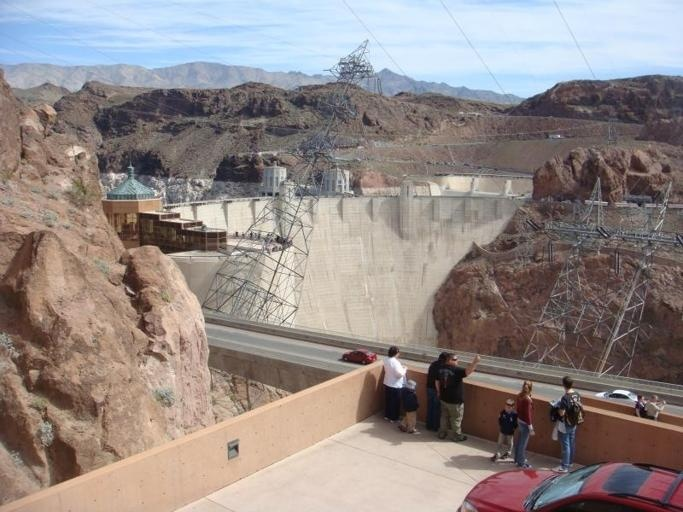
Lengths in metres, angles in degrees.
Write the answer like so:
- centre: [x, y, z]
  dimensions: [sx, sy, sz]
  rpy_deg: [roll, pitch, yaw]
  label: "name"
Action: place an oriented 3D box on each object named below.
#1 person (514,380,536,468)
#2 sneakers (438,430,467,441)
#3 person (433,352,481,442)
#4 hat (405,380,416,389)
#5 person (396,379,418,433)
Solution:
- centre: [4.128, 3.808, 13.382]
  dimensions: [0.435, 1.929, 0.982]
  rpy_deg: [6, 10, 19]
  label: "person"
- centre: [2.681, 4.422, 14.445]
  dimensions: [0.710, 0.280, 0.256]
  rpy_deg: [-2, 8, 2]
  label: "sneakers"
- centre: [2.715, 3.473, 14.335]
  dimensions: [0.819, 2.099, 0.406]
  rpy_deg: [6, 10, 21]
  label: "person"
- centre: [1.753, 3.267, 14.948]
  dimensions: [0.276, 0.174, 0.178]
  rpy_deg: [26, 19, -23]
  label: "hat"
- centre: [1.711, 3.778, 14.933]
  dimensions: [0.456, 1.245, 0.816]
  rpy_deg: [4, 9, 6]
  label: "person"
